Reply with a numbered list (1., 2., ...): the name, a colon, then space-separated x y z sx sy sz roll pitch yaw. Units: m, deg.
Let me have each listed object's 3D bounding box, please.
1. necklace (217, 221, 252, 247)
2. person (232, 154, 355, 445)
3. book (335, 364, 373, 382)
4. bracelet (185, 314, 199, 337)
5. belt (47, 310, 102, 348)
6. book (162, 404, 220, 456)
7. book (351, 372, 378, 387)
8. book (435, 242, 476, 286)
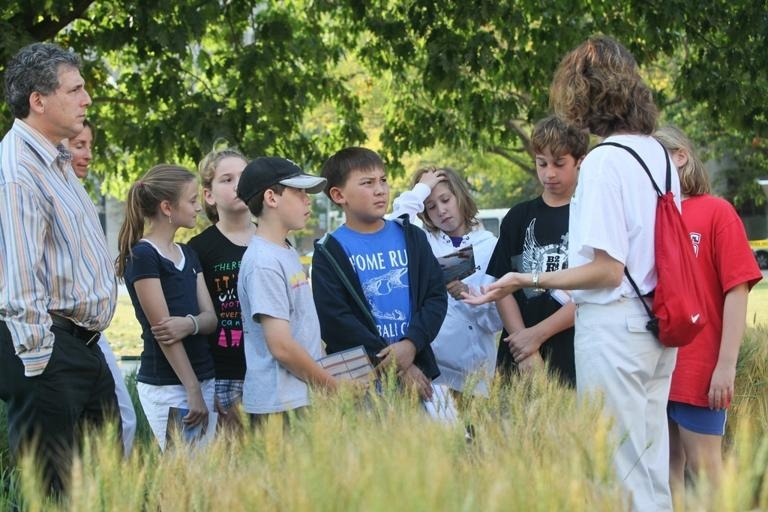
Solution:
1. necklace: -1.111 -0.196 7.249 0.239 0.247 0.182 4 16 40
2. person: -0.670 0.216 6.362 0.640 1.837 0.539 -3 -5 -10
3. book: -0.191 0.795 6.159 0.212 0.166 0.053 1 -10 0
4. bracelet: -1.379 0.518 6.829 0.047 0.129 0.108 -16 4 -18
5. belt: -2.017 0.485 6.113 0.241 0.090 0.185 32 -13 8
6. book: -1.292 1.164 6.212 0.258 0.290 0.013 5 -2 -8
7. book: -0.126 0.821 6.142 0.158 0.042 0.157 -1 -5 -16
8. book: 0.495 0.082 6.852 0.308 0.208 0.120 -19 -9 -13
